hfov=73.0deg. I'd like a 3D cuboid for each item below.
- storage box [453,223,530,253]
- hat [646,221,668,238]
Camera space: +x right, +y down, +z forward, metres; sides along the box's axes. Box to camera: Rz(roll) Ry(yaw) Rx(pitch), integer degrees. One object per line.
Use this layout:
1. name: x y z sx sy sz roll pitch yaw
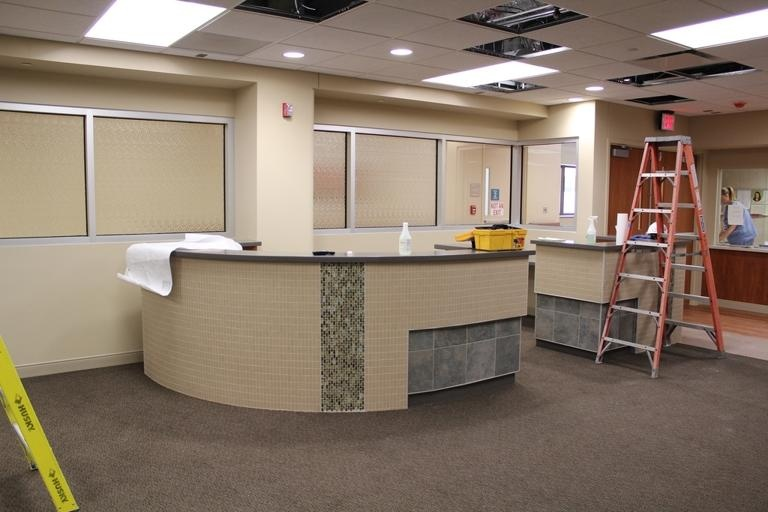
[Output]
1. storage box: 1.234 -0.220 5.947 0.652 0.258 0.484 -5 13 -26
2. hat: 3.652 -0.351 7.033 0.268 0.193 0.381 -2 -3 29
